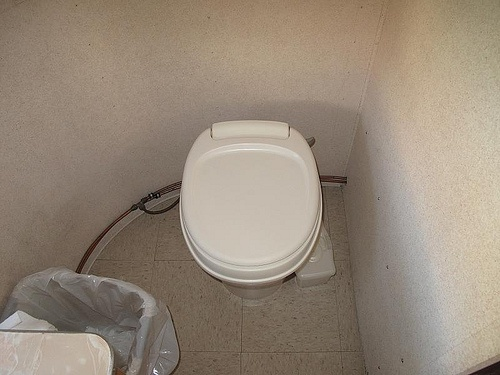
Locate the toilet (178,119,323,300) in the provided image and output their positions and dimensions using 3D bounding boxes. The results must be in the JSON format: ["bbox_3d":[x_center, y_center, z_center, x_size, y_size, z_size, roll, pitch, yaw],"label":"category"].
[{"bbox_3d":[0.017,0.098,1.469,0.403,0.438,0.508,-1,65,4],"label":"toilet"}]
